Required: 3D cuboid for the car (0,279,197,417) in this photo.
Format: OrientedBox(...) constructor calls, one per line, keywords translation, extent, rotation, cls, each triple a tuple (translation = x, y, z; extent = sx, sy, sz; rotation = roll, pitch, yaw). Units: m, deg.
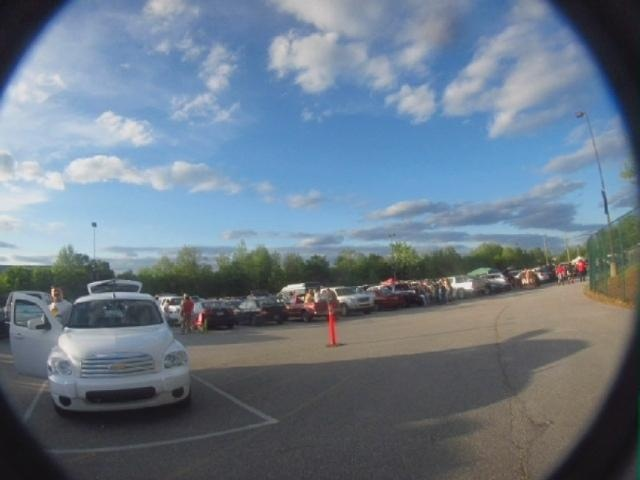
OrientedBox(translation=(-4.027, 2.158, 8.001), extent=(2.183, 1.479, 3.109), rotation=(1, -13, -20), cls="car")
